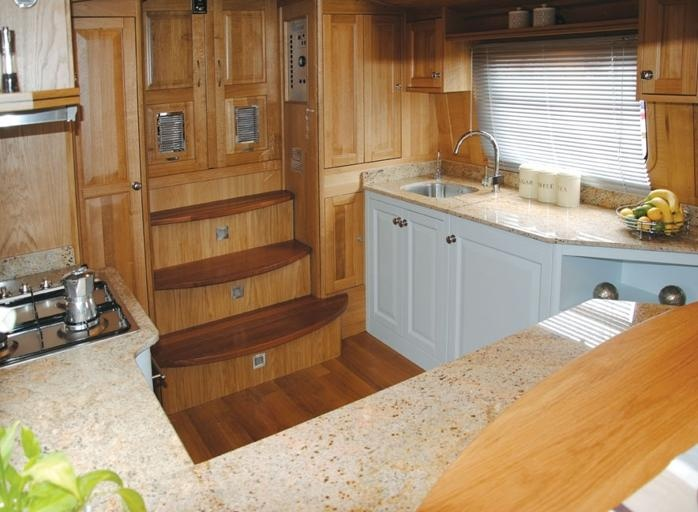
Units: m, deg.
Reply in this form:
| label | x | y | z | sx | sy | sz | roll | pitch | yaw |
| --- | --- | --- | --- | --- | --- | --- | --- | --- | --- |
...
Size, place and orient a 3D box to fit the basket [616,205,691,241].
| label | x | y | z | sx | sy | sz | roll | pitch | yaw |
| --- | --- | --- | --- | --- | --- | --- | --- | --- | --- |
| basket | 1.649 | -0.160 | 2.693 | 0.251 | 0.074 | 0.242 | -5 | 13 | -18 |

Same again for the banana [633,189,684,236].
| label | x | y | z | sx | sy | sz | roll | pitch | yaw |
| --- | --- | --- | --- | --- | --- | --- | --- | --- | --- |
| banana | 1.670 | -0.234 | 2.679 | 0.228 | 0.131 | 0.289 | 16 | 39 | 25 |

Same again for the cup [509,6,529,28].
| label | x | y | z | sx | sy | sz | roll | pitch | yaw |
| --- | --- | --- | --- | --- | --- | --- | --- | --- | --- |
| cup | 1.066 | -1.482 | 3.201 | 0.126 | 0.115 | 0.100 | -5 | 11 | 14 |

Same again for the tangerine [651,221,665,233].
| label | x | y | z | sx | sy | sz | roll | pitch | yaw |
| --- | --- | --- | --- | --- | --- | --- | --- | --- | --- |
| tangerine | 1.589 | -0.149 | 2.630 | 0.052 | 0.035 | 0.049 | 5 | 11 | 35 |

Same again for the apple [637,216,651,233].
| label | x | y | z | sx | sy | sz | roll | pitch | yaw |
| --- | --- | --- | --- | --- | --- | --- | --- | --- | --- |
| apple | 1.537 | -0.168 | 2.658 | 0.072 | 0.079 | 0.071 | -6 | 2 | -41 |

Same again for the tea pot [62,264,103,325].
| label | x | y | z | sx | sy | sz | roll | pitch | yaw |
| --- | --- | --- | --- | --- | --- | --- | --- | --- | --- |
| tea pot | -1.115 | 0.161 | 2.150 | 0.175 | 0.233 | 0.164 | -8 | 11 | 2 |

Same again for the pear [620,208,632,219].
| label | x | y | z | sx | sy | sz | roll | pitch | yaw |
| --- | --- | --- | --- | --- | --- | --- | --- | --- | --- |
| pear | 1.513 | -0.232 | 2.794 | 0.065 | 0.052 | 0.055 | -5 | 25 | -38 |

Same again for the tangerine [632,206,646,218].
| label | x | y | z | sx | sy | sz | roll | pitch | yaw |
| --- | --- | --- | --- | --- | --- | --- | --- | --- | --- |
| tangerine | 1.541 | -0.235 | 2.714 | 0.054 | 0.050 | 0.052 | -12 | 18 | -38 |

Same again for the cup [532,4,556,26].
| label | x | y | z | sx | sy | sz | roll | pitch | yaw |
| --- | --- | --- | --- | --- | --- | --- | --- | --- | --- |
| cup | 1.168 | -1.458 | 3.119 | 0.154 | 0.137 | 0.151 | 0 | 24 | 0 |

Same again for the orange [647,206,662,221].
| label | x | y | z | sx | sy | sz | roll | pitch | yaw |
| --- | --- | --- | --- | --- | --- | --- | --- | --- | --- |
| orange | 1.582 | -0.219 | 2.663 | 0.064 | 0.071 | 0.066 | 14 | 1 | 22 |

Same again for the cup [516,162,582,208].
| label | x | y | z | sx | sy | sz | roll | pitch | yaw |
| --- | --- | --- | --- | --- | --- | --- | --- | --- | --- |
| cup | 1.297 | -0.452 | 3.296 | 0.120 | 0.152 | 0.314 | -16 | 23 | -41 |
